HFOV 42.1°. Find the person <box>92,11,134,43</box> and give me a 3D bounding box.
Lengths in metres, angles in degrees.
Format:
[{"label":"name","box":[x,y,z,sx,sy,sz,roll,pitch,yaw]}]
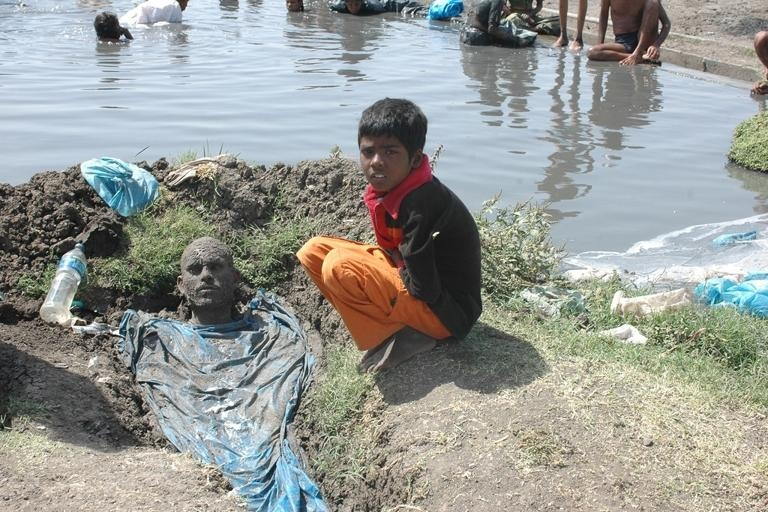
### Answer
[{"label":"person","box":[-5.485,-4.306,19.036,0.705,0.792,0.676,0,69,-13]}]
